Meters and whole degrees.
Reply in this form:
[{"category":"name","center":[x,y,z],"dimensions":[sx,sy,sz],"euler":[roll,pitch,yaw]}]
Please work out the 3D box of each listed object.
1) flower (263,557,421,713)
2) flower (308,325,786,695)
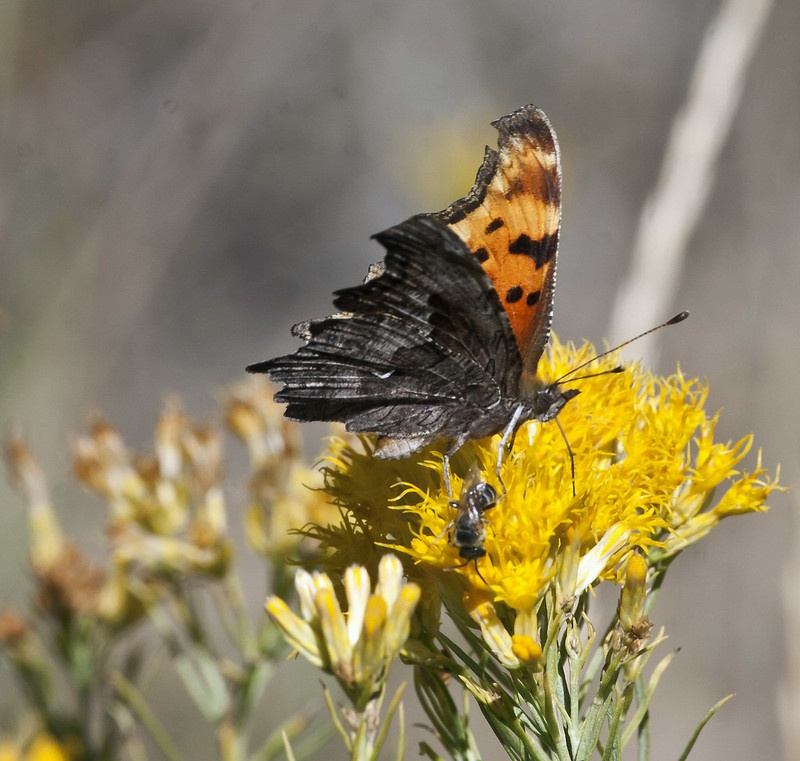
[{"category":"flower","center":[-0.064,0.263,1.382],"dimensions":[0.156,0.164,0.073],"euler":[5,-7,-7]},{"category":"flower","center":[0.152,0.095,1.516],"dimensions":[0.381,0.233,0.394],"euler":[-28,-1,-4]}]
